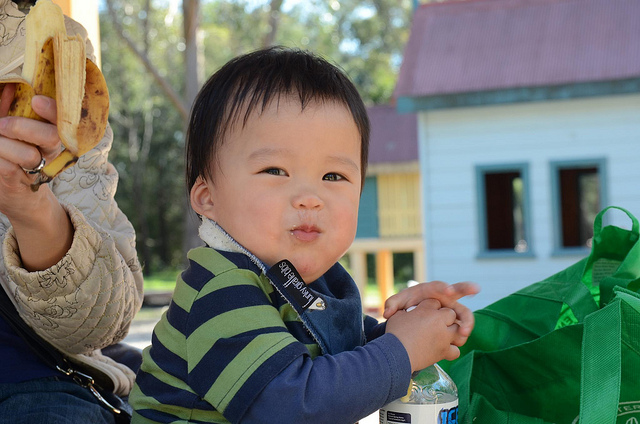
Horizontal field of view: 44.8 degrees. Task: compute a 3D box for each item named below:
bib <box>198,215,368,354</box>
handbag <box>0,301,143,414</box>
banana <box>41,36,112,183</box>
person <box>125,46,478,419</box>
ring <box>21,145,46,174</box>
[{"bbox_3d":[-0.099,0.262,2.670,0.555,0.237,0.535,16,9,12],"label":"bib"},{"bbox_3d":[-0.867,0.511,2.747,0.442,0.161,0.328,42,0,-9],"label":"handbag"},{"bbox_3d":[-0.718,-0.282,2.303,0.182,0.418,0.147,9,8,-5],"label":"banana"},{"bbox_3d":[-0.066,0.039,2.518,0.979,1.242,0.485,3,-6,-21],"label":"person"},{"bbox_3d":[-0.856,-0.151,2.314,0.080,0.082,0.026,1,3,-42],"label":"ring"}]
